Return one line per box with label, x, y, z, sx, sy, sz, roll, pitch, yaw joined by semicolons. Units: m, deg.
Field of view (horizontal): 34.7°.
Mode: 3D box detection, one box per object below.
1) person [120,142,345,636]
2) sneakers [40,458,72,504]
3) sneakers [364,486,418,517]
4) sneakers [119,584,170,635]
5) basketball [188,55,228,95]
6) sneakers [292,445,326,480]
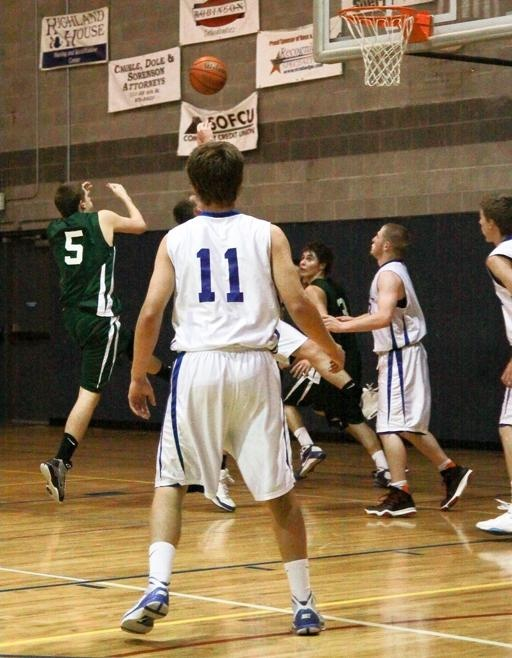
person;-0.052;0.154;2.055;0.560;1.253;0.511;-1;7;-5
sneakers;-1.094;0.843;4.485;0.129;0.266;0.210;-1;7;-4
sneakers;0.745;0.967;4.541;0.350;0.205;0.119;1;-9;4
sneakers;-0.249;0.637;1.889;0.064;0.160;0.073;29;36;-21
basketball;-0.474;-2.488;7.982;0.337;0.365;0.283;-1;7;-4
sneakers;0.360;0.937;5.737;0.128;0.152;0.357;-15;-25;-38
